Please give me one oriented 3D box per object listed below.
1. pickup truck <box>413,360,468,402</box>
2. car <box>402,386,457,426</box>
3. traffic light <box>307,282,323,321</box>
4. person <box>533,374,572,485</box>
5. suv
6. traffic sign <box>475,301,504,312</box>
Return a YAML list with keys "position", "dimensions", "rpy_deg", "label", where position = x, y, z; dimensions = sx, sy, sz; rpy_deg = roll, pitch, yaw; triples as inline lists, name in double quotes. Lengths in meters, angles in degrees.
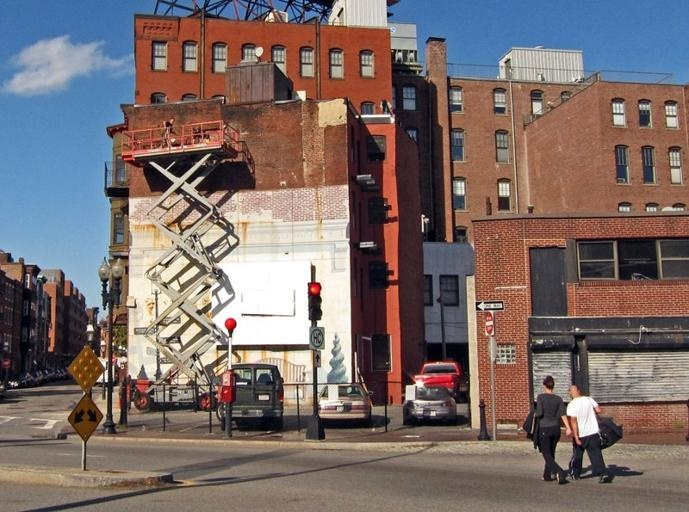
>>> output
- position: [5.447, 6.440, 64.584]
  dimensions: [2.950, 2.485, 3.107]
  rpy_deg: [-3, -6, 11]
  label: "pickup truck"
- position: [3.928, 6.829, 55.465]
  dimensions: [2.344, 1.826, 2.368]
  rpy_deg: [-2, -7, 7]
  label: "car"
- position: [-1.263, 1.916, 50.750]
  dimensions: [0.501, 1.609, 1.018]
  rpy_deg: [-1, -9, 4]
  label: "traffic light"
- position: [7.448, 6.094, 43.352]
  dimensions: [1.421, 3.575, 1.066]
  rpy_deg: [1, -6, 12]
  label: "person"
- position: [-4.051, 6.145, 54.272]
  dimensions: [2.578, 3.215, 2.289]
  rpy_deg: [-1, -6, -6]
  label: "suv"
- position: [6.361, 2.095, 52.178]
  dimensions: [1.238, 0.618, 1.635]
  rpy_deg: [-1, -9, 6]
  label: "traffic sign"
